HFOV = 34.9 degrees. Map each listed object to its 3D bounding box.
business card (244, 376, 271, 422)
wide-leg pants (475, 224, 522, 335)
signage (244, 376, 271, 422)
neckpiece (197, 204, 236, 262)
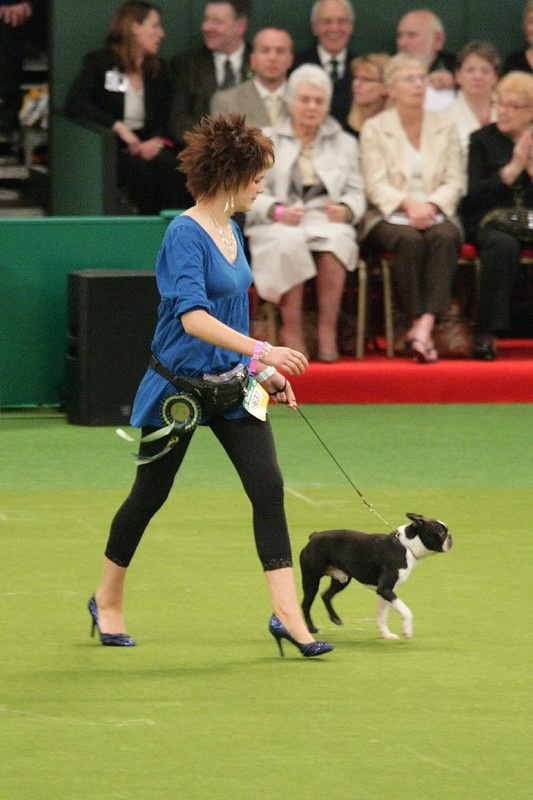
[{"bbox_3d":[-0.029,-0.004,2.394,0.014,0.112,0.125,-13,7,27],"label":"business card"},{"bbox_3d":[2.081,-1.083,7.633,0.402,0.967,0.235,-1,1,12],"label":"wide-leg pants"},{"bbox_3d":[-0.029,-0.004,2.394,0.014,0.112,0.125,-13,7,27],"label":"signage"},{"bbox_3d":[-0.142,-0.459,2.339,0.104,0.120,0.162,-18,-23,-4],"label":"neckpiece"}]
